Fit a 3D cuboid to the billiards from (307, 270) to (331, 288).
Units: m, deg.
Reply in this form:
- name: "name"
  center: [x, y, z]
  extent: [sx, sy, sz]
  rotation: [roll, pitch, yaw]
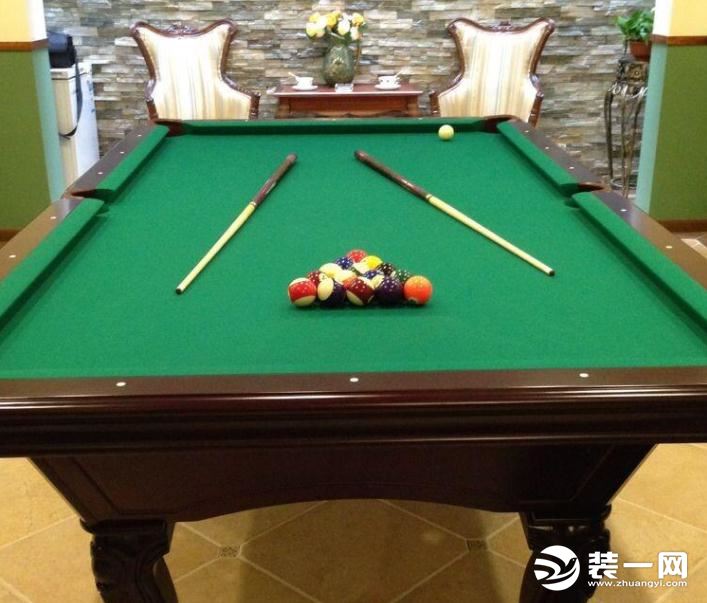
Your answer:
- name: "billiards"
  center: [-0.079, -0.048, 1.311]
  extent: [0.035, 0.020, 0.038]
  rotation: [3, 14, 3]

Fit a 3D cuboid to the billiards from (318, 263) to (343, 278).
- name: "billiards"
  center: [-0.053, -0.076, 1.378]
  extent: [0.043, 0.019, 0.037]
  rotation: [5, 24, 3]

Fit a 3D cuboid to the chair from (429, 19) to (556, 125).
- name: "chair"
  center: [1.076, -1.662, 4.821]
  extent: [0.722, 0.833, 0.592]
  rotation: [6, 14, 9]

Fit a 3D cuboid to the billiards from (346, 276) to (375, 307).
- name: "billiards"
  center: [0.003, -0.024, 1.306]
  extent: [0.063, 0.057, 0.059]
  rotation: [-13, 11, -2]

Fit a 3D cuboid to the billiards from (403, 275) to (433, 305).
- name: "billiards"
  center: [0.134, -0.024, 1.277]
  extent: [0.070, 0.056, 0.061]
  rotation: [1, -1, 2]

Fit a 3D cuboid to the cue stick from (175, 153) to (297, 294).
- name: "cue stick"
  center: [-0.315, -0.271, 1.839]
  extent: [0.057, 0.052, 1.017]
  rotation: [-17, 27, 23]

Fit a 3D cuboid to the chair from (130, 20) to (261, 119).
- name: "chair"
  center: [-1.175, -1.568, 4.787]
  extent: [0.792, 0.888, 0.668]
  rotation: [3, 11, 11]

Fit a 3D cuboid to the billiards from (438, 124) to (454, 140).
- name: "billiards"
  center: [0.406, -0.756, 2.735]
  extent: [0.085, 0.069, 0.073]
  rotation: [-3, 24, 1]

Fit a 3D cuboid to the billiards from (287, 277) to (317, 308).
- name: "billiards"
  center: [-0.103, -0.017, 1.319]
  extent: [0.063, 0.055, 0.063]
  rotation: [-17, -30, 36]

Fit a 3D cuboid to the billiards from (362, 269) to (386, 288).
- name: "billiards"
  center: [0.037, -0.051, 1.323]
  extent: [0.043, 0.023, 0.045]
  rotation: [3, 17, 7]

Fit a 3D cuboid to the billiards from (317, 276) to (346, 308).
- name: "billiards"
  center: [-0.047, -0.014, 1.278]
  extent: [0.070, 0.067, 0.062]
  rotation: [-9, 16, -4]

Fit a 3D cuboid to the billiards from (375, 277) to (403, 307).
- name: "billiards"
  center: [0.074, -0.017, 1.286]
  extent: [0.066, 0.055, 0.059]
  rotation: [12, 12, -4]

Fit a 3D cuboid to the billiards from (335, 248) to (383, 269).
- name: "billiards"
  center: [0.017, -0.101, 1.450]
  extent: [0.075, 0.023, 0.071]
  rotation: [-15, 23, -38]

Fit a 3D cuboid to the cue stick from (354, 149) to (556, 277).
- name: "cue stick"
  center: [0.311, -0.263, 1.837]
  extent: [0.077, 0.045, 1.080]
  rotation: [-11, 34, -37]
